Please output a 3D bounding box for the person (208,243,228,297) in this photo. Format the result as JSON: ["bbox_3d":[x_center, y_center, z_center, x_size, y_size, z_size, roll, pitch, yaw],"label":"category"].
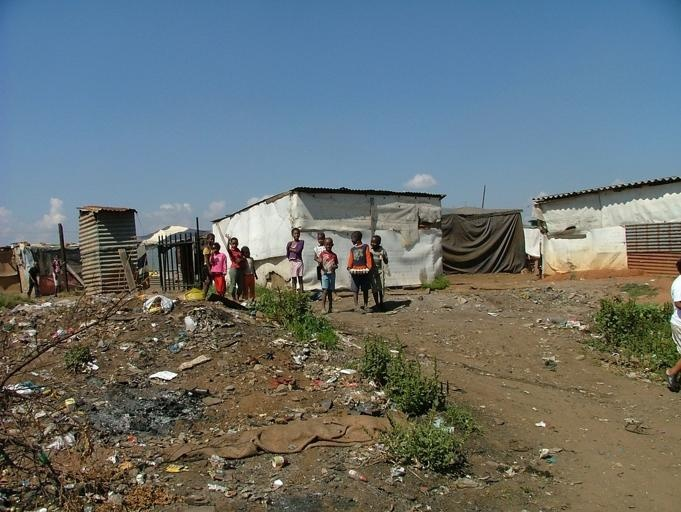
[{"bbox_3d":[-2.542,0.322,10.795,0.316,1.103,0.966,-1,13,-14],"label":"person"}]

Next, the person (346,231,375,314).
[{"bbox_3d":[0.436,0.361,11.310,0.502,1.802,0.584,5,13,8],"label":"person"}]

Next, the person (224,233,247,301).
[{"bbox_3d":[-2.190,0.283,10.824,0.312,1.365,0.645,0,13,-11],"label":"person"}]

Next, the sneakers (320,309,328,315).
[{"bbox_3d":[-0.371,1.233,11.464,0.121,0.126,0.183,0,-5,-2],"label":"sneakers"}]
